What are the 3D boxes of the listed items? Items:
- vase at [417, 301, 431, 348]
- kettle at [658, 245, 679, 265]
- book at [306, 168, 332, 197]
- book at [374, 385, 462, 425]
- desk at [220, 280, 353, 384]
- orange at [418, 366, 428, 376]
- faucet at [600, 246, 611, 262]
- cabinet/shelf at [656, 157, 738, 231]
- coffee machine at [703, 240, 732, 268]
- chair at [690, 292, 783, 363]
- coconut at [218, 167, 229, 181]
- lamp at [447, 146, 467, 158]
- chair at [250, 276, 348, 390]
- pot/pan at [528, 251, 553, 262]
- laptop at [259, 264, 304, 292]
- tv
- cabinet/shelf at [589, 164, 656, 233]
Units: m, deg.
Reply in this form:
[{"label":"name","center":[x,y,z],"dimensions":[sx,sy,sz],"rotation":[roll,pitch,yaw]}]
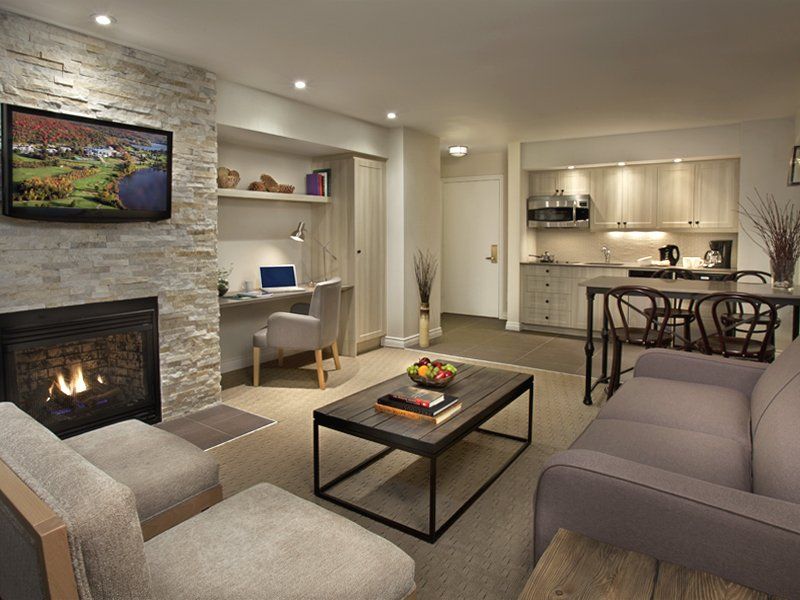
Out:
[{"label":"vase","center":[0.309,0.278,6.506],"dimensions":[0.144,0.554,0.404],"rotation":[1,11,4]},{"label":"kettle","center":[3.514,-0.579,6.861],"dimensions":[0.294,0.304,0.191],"rotation":[1,-7,28]},{"label":"book","center":[-0.896,-1.328,5.994],"dimensions":[0.275,0.373,0.378],"rotation":[1,4,3]},{"label":"book","center":[0.086,0.578,2.934],"dimensions":[0.296,0.070,0.222],"rotation":[4,6,34]},{"label":"desk","center":[-1.145,0.313,5.577],"dimensions":[1.135,1.416,1.014],"rotation":[3,4,12]},{"label":"orange","center":[0.145,0.429,3.218],"dimensions":[0.050,0.052,0.052],"rotation":[-13,-4,24]},{"label":"faucet","center":[2.920,-0.647,7.419],"dimensions":[0.093,0.216,0.146],"rotation":[-2,11,-13]},{"label":"cabinet/shelf","center":[3.723,-1.331,6.506],"dimensions":[0.837,0.791,0.407],"rotation":[3,6,38]},{"label":"coffee machine","center":[3.941,-0.560,6.564],"dimensions":[0.367,0.386,0.279],"rotation":[-1,-2,44]},{"label":"chair","center":[2.720,0.217,4.205],"dimensions":[0.459,0.866,0.619],"rotation":[8,13,43]},{"label":"coconut","center":[-1.671,-1.186,4.957],"dimensions":[0.092,0.112,0.086],"rotation":[-2,11,-11]},{"label":"lamp","center":[0.803,-2.087,7.374],"dimensions":[0.190,0.092,0.187],"rotation":[-5,8,-31]},{"label":"chair","center":[-0.826,0.335,5.455],"dimensions":[1.013,1.316,0.948],"rotation":[1,-1,6]},{"label":"pot/pan","center":[2.096,-0.632,7.756],"dimensions":[0.400,0.174,0.167],"rotation":[-1,2,10]},{"label":"laptop","center":[-1.278,-0.234,5.525],"dimensions":[0.350,0.228,0.272],"rotation":[-1,3,-42]},{"label":"tv","center":[-2.103,-0.903,3.469],"dimensions":[0.069,0.647,0.913],"rotation":[7,8,37]},{"label":"cabinet/shelf","center":[2.971,-1.375,6.949],"dimensions":[0.815,0.843,0.296],"rotation":[1,5,31]}]
